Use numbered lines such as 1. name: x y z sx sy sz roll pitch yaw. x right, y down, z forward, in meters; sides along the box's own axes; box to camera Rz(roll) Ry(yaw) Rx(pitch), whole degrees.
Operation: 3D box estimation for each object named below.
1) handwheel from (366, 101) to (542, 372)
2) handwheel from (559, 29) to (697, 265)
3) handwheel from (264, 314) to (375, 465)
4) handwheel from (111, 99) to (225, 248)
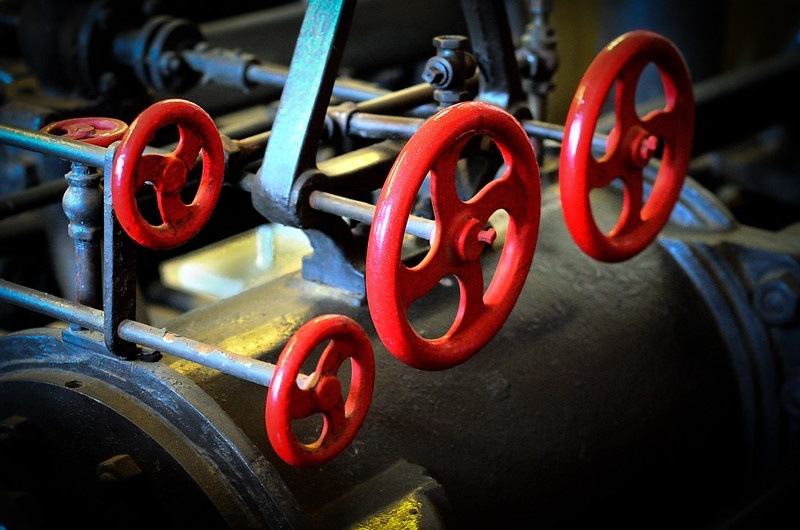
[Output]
1. handwheel: 0.105 -0.039 1.527 0.157 0.552 0.496 21 2 28
2. handwheel: 0.485 -0.208 1.653 0.151 0.544 0.408 22 40 38
3. handwheel: -0.146 0.244 1.416 0.043 0.300 0.261 12 13 35
4. handwheel: -0.442 -0.173 1.472 0.242 0.265 0.074 -26 36 -31
